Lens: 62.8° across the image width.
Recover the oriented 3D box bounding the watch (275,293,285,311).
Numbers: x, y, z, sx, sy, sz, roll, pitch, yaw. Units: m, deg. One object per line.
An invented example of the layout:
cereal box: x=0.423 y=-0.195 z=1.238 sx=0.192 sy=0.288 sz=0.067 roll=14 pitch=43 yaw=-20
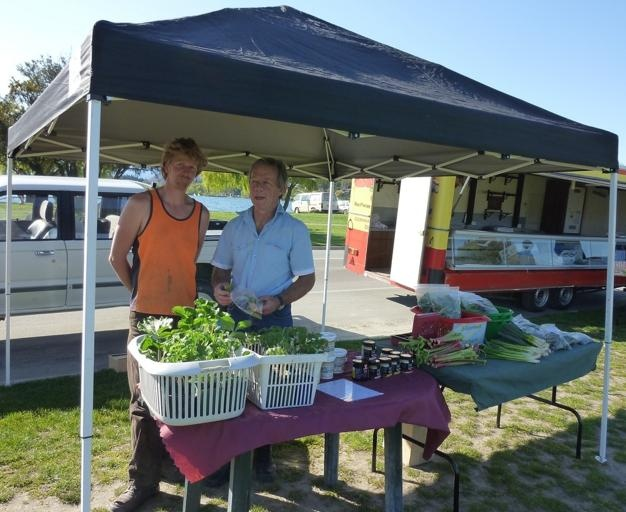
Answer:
watch: x=-0.234 y=0.317 z=3.552 sx=0.053 sy=0.102 sz=0.105 roll=-9 pitch=-23 yaw=3

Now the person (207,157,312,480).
person: x=-0.379 y=0.352 z=3.904 sx=0.879 sy=2.082 sz=0.908 roll=11 pitch=10 yaw=-10

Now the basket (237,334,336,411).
basket: x=-0.179 y=0.653 z=3.157 sx=0.637 sy=0.317 sz=0.672 roll=-3 pitch=13 yaw=-27

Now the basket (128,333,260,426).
basket: x=-0.686 y=0.632 z=2.869 sx=0.708 sy=0.444 sz=0.528 roll=2 pitch=5 yaw=-20

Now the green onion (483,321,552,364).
green onion: x=1.643 y=0.718 z=4.153 sx=0.410 sy=0.125 sz=0.399 roll=9 pitch=13 yaw=23
